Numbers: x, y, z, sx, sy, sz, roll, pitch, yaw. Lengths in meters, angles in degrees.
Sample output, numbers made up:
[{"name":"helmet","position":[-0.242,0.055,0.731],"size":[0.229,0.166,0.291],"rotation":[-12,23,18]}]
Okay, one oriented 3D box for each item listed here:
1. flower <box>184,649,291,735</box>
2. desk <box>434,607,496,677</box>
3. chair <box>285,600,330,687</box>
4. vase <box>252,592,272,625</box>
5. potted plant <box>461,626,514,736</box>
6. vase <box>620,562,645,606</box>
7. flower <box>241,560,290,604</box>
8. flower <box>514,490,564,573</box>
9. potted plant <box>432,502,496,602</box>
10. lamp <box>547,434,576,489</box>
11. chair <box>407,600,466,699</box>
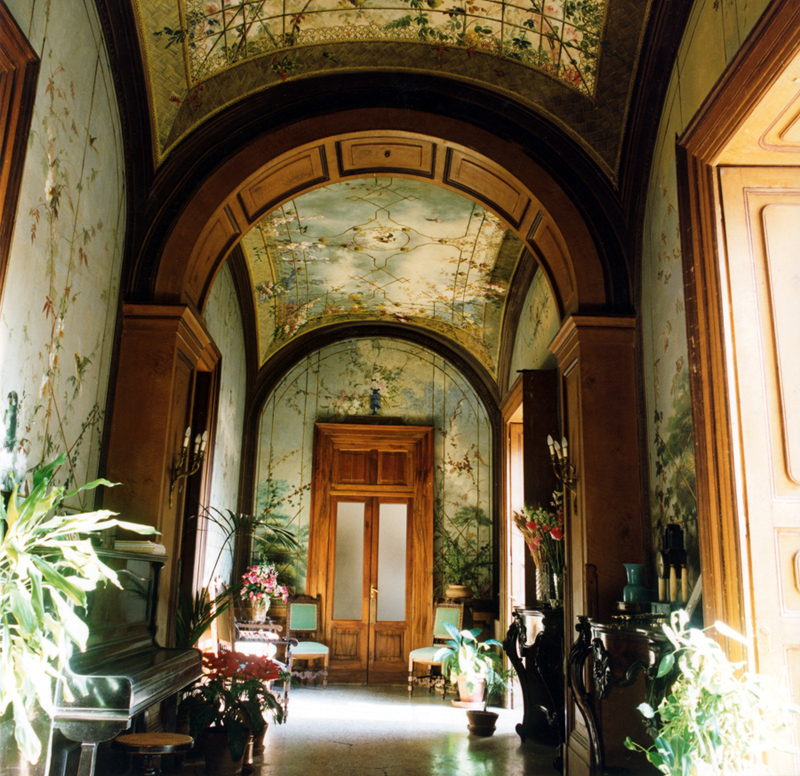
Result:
[{"name":"flower","position":[-1.113,2.163,4.744],"size":[0.669,0.497,0.709],"rotation":[0,-9,38]},{"name":"desk","position":[0.759,2.852,7.269],"size":[0.657,0.527,0.739],"rotation":[3,-1,15]},{"name":"chair","position":[-1.263,3.384,9.007],"size":[0.547,1.140,0.589],"rotation":[5,-14,-29]},{"name":"vase","position":[-1.673,2.646,7.973],"size":[0.215,0.332,0.343],"rotation":[5,-17,-13]},{"name":"potted plant","position":[0.966,3.183,7.434],"size":[0.492,0.906,2.550],"rotation":[-2,-18,9]},{"name":"vase","position":[1.427,1.178,3.998],"size":[0.112,0.250,0.270],"rotation":[-4,-17,18]},{"name":"flower","position":[-1.719,2.507,8.466],"size":[0.622,0.681,0.693],"rotation":[11,-19,-11]},{"name":"flower","position":[1.315,1.313,6.146],"size":[0.446,0.760,1.212],"rotation":[-2,-18,10]},{"name":"potted plant","position":[0.985,2.509,10.252],"size":[1.128,1.547,0.904],"rotation":[3,-15,-6]},{"name":"lamp","position":[1.303,0.570,5.225],"size":[0.192,0.496,0.160],"rotation":[-6,20,2]},{"name":"chair","position":[0.554,3.457,8.952],"size":[0.577,1.199,0.703],"rotation":[-5,-16,34]}]
